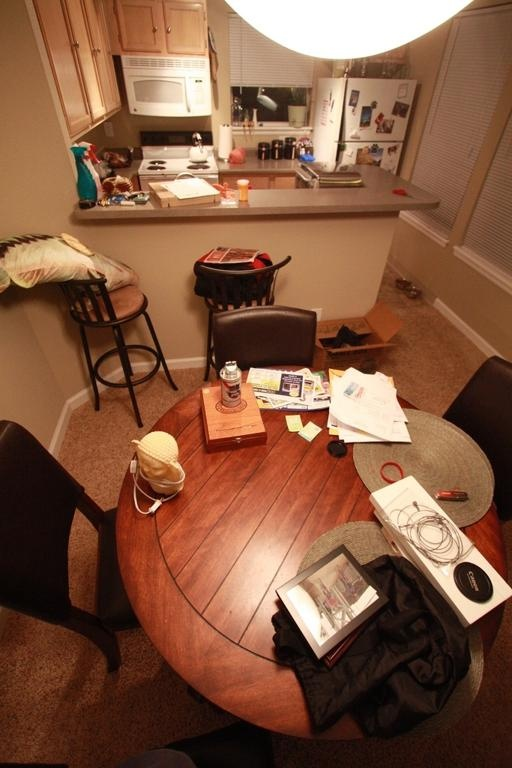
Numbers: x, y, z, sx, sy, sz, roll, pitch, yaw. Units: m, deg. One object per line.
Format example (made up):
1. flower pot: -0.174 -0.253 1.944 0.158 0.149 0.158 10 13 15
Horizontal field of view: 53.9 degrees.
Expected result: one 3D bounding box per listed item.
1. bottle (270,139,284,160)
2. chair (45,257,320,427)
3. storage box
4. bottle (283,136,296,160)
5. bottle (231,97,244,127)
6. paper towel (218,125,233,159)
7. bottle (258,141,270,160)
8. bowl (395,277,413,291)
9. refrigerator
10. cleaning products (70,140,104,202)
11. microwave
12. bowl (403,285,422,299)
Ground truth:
1. bottle: 0.170 -1.923 4.139 0.106 0.181 0.111 1 53 -1
2. chair: -0.391 -0.209 2.331 0.843 0.592 0.345 -9 47 -14
3. storage box: 0.616 -0.264 3.024 0.533 0.251 0.401 -1 59 -2
4. bottle: 0.279 -1.938 4.153 0.116 0.172 0.104 -7 38 -6
5. bottle: -0.149 -2.287 4.223 0.105 0.209 0.047 -4 38 -3
6. paper towel: -0.244 -1.882 3.917 0.100 0.262 0.195 -8 38 -8
7. bottle: 0.050 -1.885 4.108 0.120 0.132 0.124 0 56 -2
8. bowl: 1.250 -0.846 4.237 0.111 0.051 0.123 -13 47 -8
9. refrigerator: 0.886 -2.130 4.153 0.682 0.786 0.578 -12 39 -12
10. cleaning products: -0.763 -0.945 2.263 0.122 0.269 0.207 -14 40 -15
11. microwave: -0.634 -2.261 3.554 0.567 0.399 0.375 -4 54 -9
12. bowl: 1.284 -0.751 4.117 0.111 0.048 0.113 -1 56 2
